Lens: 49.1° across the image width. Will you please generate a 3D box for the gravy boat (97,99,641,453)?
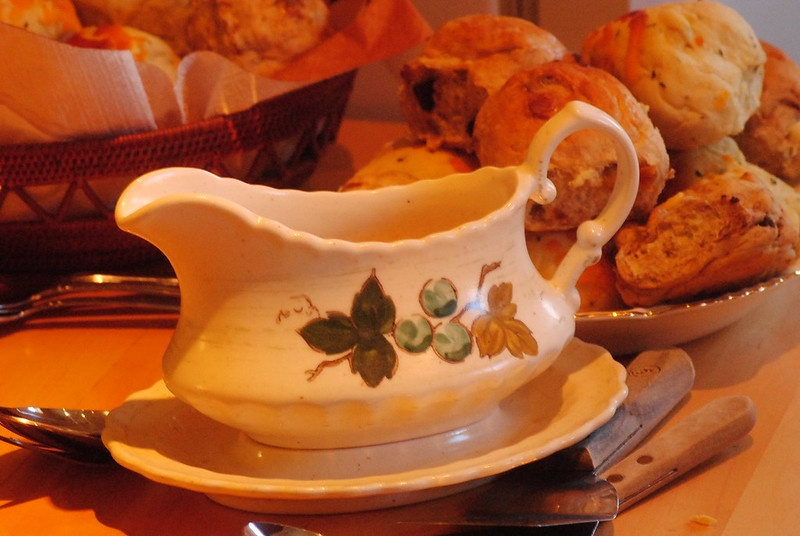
[{"bbox_3d":[-0.021,-0.005,0.857,0.418,0.254,0.297,-5,6,-10],"label":"gravy boat"}]
